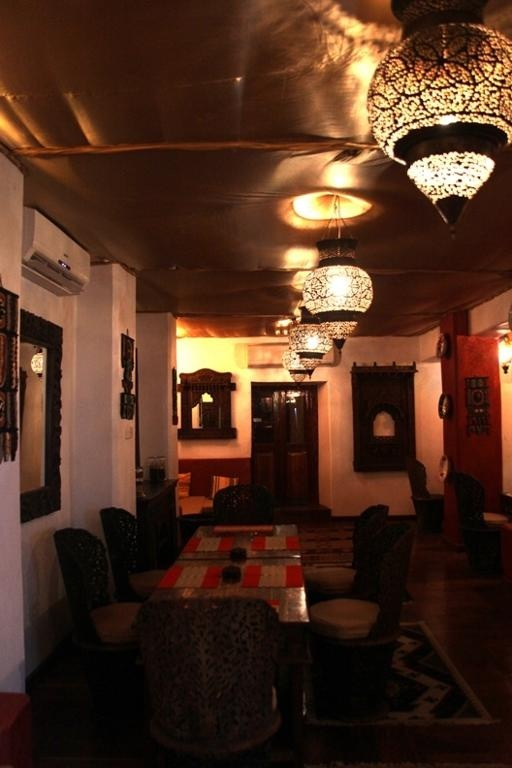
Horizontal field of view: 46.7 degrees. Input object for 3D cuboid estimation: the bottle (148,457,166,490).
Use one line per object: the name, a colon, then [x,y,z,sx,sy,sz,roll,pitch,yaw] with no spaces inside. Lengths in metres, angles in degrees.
bottle: [-1.089,0.916,6.309,0.226,0.339,0.233,2,-12,0]

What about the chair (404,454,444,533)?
chair: [2.319,1.515,8.140,0.452,0.960,0.543,0,-4,15]

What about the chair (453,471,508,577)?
chair: [2.291,1.382,5.959,0.518,0.976,0.450,2,-4,-20]

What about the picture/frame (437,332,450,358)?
picture/frame: [2.290,-0.469,7.241,0.060,0.239,0.175,6,-2,-16]

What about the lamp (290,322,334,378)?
lamp: [0.416,-0.288,4.837,0.350,0.521,0.359,-1,-6,-1]

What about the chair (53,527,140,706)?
chair: [-0.828,1.161,3.085,0.449,0.800,0.632,2,-4,-14]

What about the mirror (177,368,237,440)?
mirror: [-0.793,0.312,9.141,1.046,1.256,0.139,0,-1,-2]

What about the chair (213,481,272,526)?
chair: [-0.099,1.035,5.239,0.389,0.302,0.369,0,-10,0]

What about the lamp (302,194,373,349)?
lamp: [0.448,-0.623,3.274,0.357,0.775,0.514,0,-4,7]
